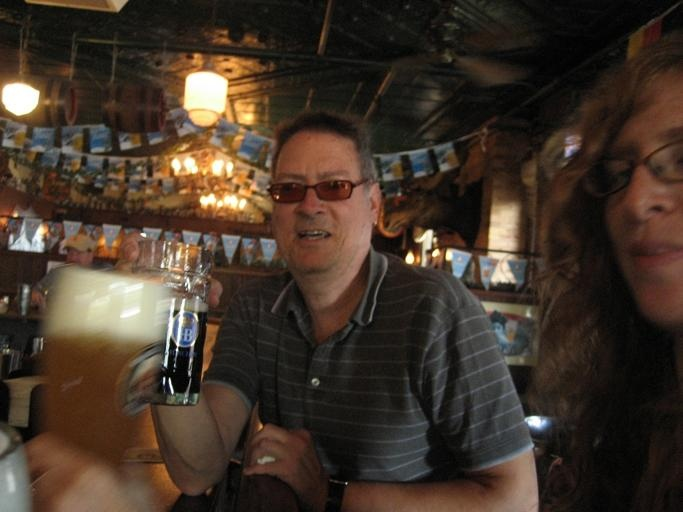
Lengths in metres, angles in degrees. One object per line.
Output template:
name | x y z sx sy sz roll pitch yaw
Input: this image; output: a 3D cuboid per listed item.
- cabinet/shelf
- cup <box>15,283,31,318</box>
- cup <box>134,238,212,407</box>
cabinet/shelf | -0.449 0.207 3.673 2.456 0.567 2.178 7 -11 9
cup | -3.202 0.446 5.543 0.122 0.263 0.283 4 -3 -31
cup | -0.559 0.216 1.794 0.243 0.540 0.218 3 -2 -14
